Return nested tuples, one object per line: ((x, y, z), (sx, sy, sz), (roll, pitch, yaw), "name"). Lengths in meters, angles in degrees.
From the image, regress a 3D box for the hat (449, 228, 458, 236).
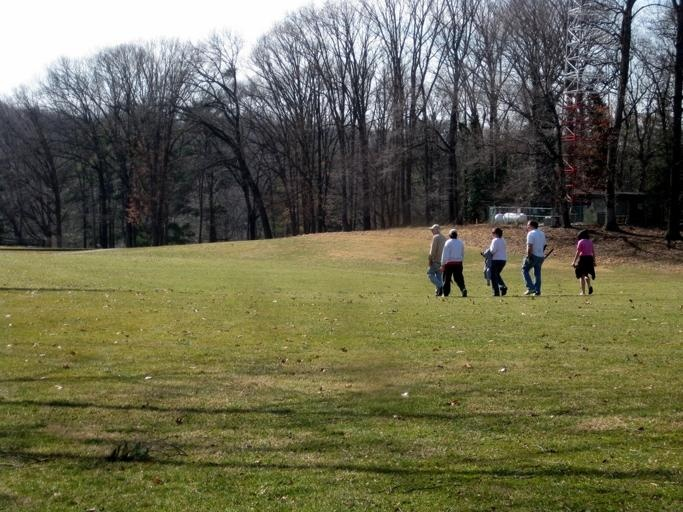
((5.572, -1.204, 55.748), (0.392, 0.454, 0.434), (-1, -2, 7), "hat")
